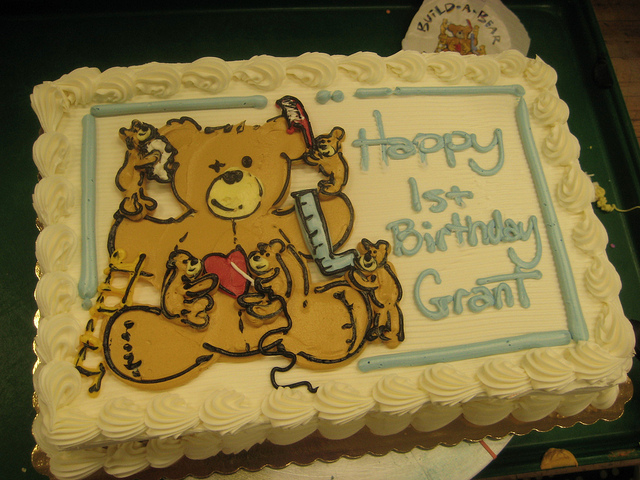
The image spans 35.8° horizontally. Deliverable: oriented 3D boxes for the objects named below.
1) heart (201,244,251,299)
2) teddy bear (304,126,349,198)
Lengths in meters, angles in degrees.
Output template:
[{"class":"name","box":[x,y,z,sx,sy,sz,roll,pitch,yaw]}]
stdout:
[{"class":"heart","box":[-0.990,0.356,10.896,0.521,0.151,0.483,-19,80,-7]},{"class":"teddy bear","box":[0.128,-0.858,11.245,0.496,0.129,0.706,-3,78,-7]}]
